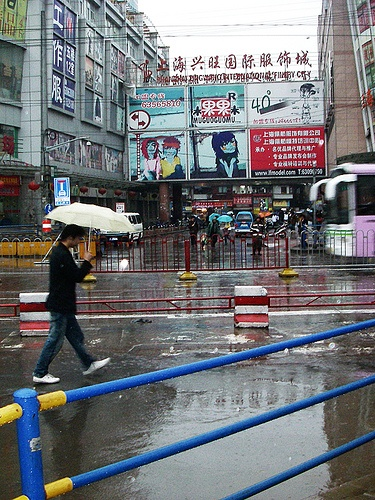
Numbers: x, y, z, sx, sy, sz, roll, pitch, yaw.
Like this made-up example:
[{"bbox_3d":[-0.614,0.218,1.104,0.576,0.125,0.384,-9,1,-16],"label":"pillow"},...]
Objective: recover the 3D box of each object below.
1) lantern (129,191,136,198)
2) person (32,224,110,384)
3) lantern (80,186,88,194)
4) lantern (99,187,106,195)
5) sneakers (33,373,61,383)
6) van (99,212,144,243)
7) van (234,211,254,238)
[{"bbox_3d":[-5.162,-5.280,56.450,0.742,0.663,0.740,3,8,23],"label":"lantern"},{"bbox_3d":[-1.307,0.559,6.552,0.754,1.123,0.727,-3,2,4],"label":"person"},{"bbox_3d":[-7.189,-4.210,42.594,0.572,0.528,0.558,-5,12,-16],"label":"lantern"},{"bbox_3d":[-6.496,-4.500,46.963,0.660,0.629,0.644,-6,12,-12],"label":"lantern"},{"bbox_3d":[-1.474,1.354,6.445,0.284,0.109,0.103,0,11,-6],"label":"sneakers"},{"bbox_3d":[-3.154,-1.498,34.548,2.092,1.743,3.670,-1,-1,9],"label":"van"},{"bbox_3d":[3.953,-1.866,43.221,1.416,1.638,3.462,0,11,7],"label":"van"}]
